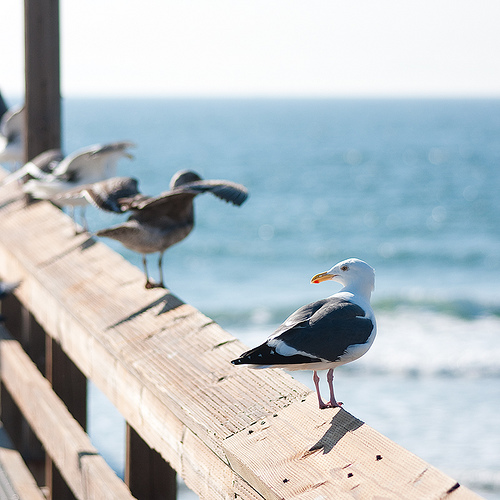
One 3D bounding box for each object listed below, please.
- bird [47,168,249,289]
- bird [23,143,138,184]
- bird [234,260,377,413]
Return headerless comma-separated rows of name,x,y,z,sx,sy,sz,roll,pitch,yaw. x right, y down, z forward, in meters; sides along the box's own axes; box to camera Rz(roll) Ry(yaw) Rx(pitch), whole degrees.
bird,-0.437,-0.163,4.651,0.658,0.350,0.900,-1,0,-41
bird,-0.844,-0.446,5.569,0.365,0.110,0.354,6,-8,-40
bird,0.186,0.328,4.073,0.334,0.521,0.857,-5,0,42
